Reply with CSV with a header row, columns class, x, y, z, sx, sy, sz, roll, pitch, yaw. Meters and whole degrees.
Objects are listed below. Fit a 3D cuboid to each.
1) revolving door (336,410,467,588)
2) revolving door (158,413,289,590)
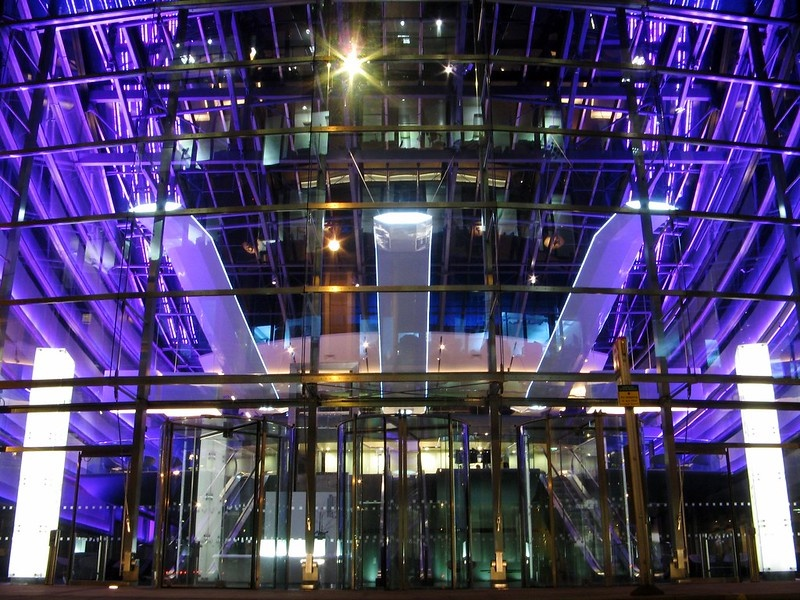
class,x,y,z,sx,sy,sz,roll,pitch,yaw
revolving door,-0.170,4.830,18.027,3.222,3.554,3.395,-2,-17,6
revolving door,-3.908,4.339,18.091,3.340,4.099,3.494,3,11,-7
